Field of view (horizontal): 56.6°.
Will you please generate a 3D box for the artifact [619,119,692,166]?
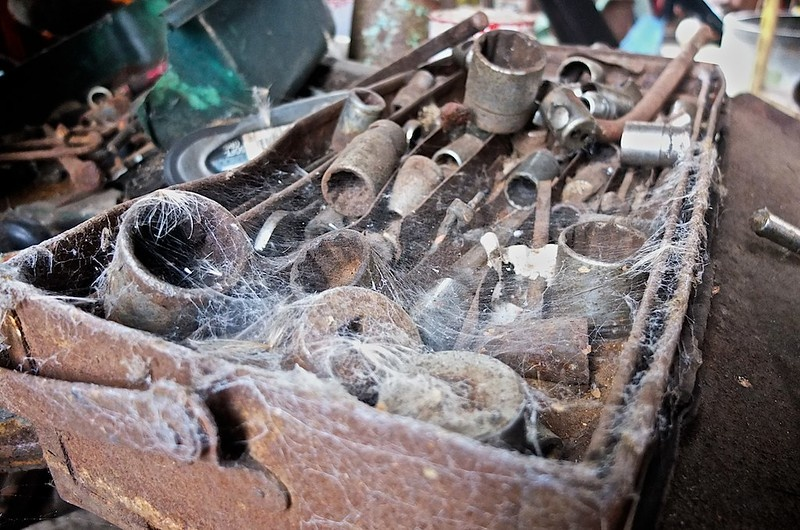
[{"bbox_3d":[1.668,-0.799,4.878,0.503,0.321,0.355,4,92,-6],"label":"artifact"}]
